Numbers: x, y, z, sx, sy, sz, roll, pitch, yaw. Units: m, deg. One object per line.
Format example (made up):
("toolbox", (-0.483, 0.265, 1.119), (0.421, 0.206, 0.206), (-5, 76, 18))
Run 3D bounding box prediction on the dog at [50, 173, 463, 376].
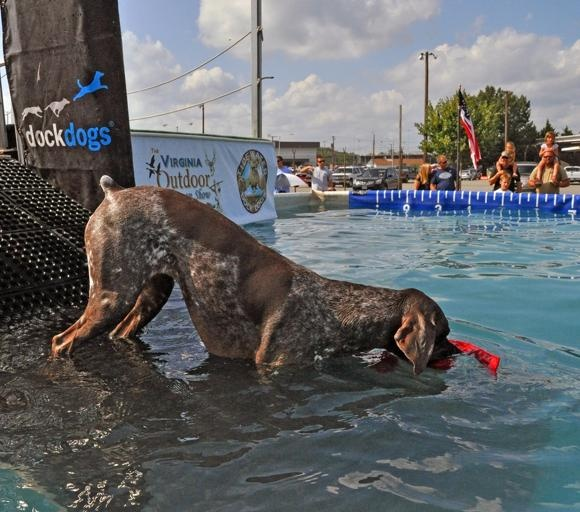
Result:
("dog", (-0.112, 0.425, 4.785), (3.636, 1.527, 0.848), (13, 25, 19))
